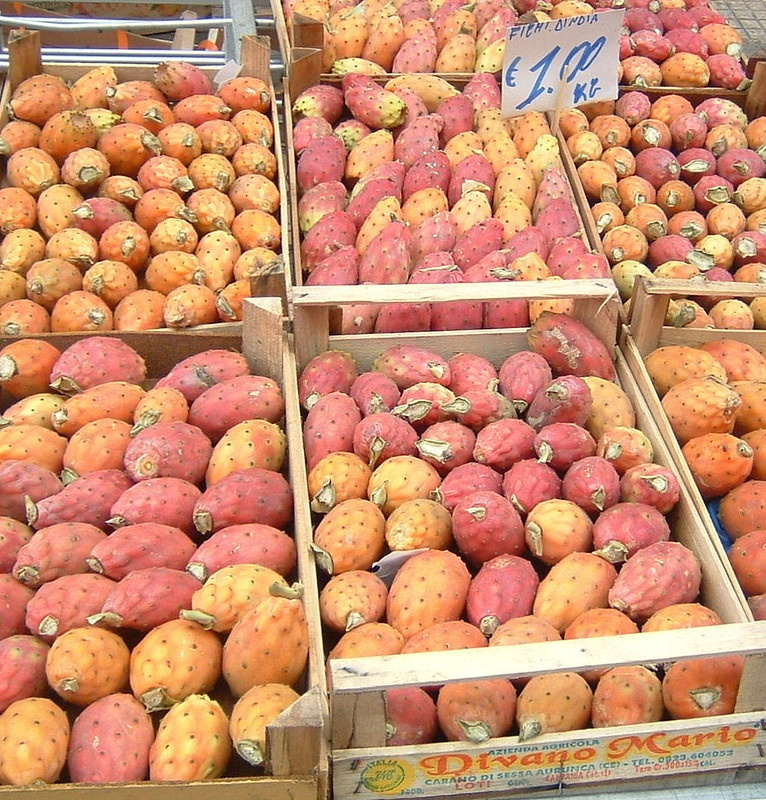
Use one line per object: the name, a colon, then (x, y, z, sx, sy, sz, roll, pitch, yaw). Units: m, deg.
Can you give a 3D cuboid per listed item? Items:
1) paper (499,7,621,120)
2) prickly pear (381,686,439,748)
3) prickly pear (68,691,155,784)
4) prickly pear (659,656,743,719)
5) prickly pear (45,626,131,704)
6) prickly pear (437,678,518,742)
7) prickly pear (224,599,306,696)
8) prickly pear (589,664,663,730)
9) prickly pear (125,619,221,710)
paper: (0.660, -1.225, 2.711, 0.511, 0.308, 0.012, -17, 37, -21)
prickly pear: (0.051, 0.573, 1.348, 0.090, 0.087, 0.086, 1, 42, -4)
prickly pear: (-0.457, 0.573, 1.301, 0.121, 0.099, 0.156, 17, 50, -11)
prickly pear: (0.598, 0.539, 1.432, 0.139, 0.140, 0.113, 13, 84, 25)
prickly pear: (-0.510, 0.484, 1.395, 0.135, 0.160, 0.110, -6, 86, 11)
prickly pear: (0.179, 0.573, 1.362, 0.152, 0.145, 0.095, 0, 43, -5)
prickly pear: (-0.214, 0.451, 1.354, 0.159, 0.215, 0.117, 2, 43, -3)
prickly pear: (0.462, 0.562, 1.400, 0.148, 0.074, 0.109, -3, 41, -8)
prickly pear: (-0.375, 0.483, 1.426, 0.130, 0.132, 0.169, 42, 65, 3)
